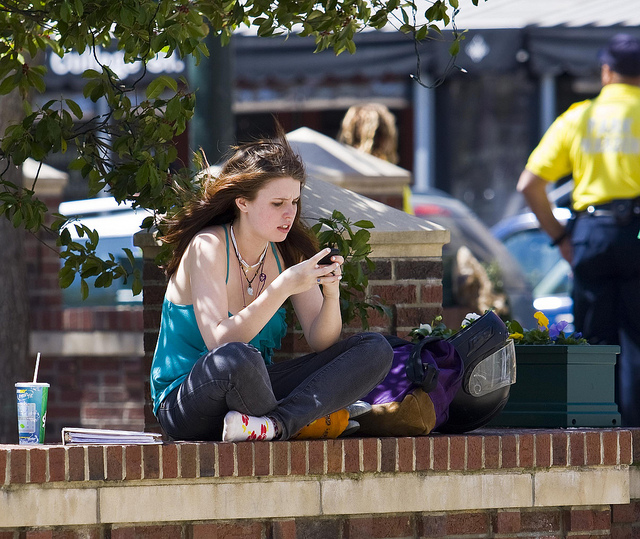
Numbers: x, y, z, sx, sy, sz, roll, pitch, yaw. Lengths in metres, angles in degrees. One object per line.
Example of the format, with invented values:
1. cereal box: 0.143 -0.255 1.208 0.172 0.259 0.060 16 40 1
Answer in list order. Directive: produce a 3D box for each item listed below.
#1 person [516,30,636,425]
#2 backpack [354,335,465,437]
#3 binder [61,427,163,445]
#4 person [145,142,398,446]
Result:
1. person: 1.696 -0.260 13.867 0.715 2.447 0.311 1 -1 35
2. backpack: 0.523 0.684 12.880 0.627 0.587 0.300 1 -1 4
3. binder: -1.220 0.964 12.598 0.536 0.069 0.140 2 -1 5
4. person: -0.393 0.129 12.846 1.120 1.791 1.272 -5 -6 39
